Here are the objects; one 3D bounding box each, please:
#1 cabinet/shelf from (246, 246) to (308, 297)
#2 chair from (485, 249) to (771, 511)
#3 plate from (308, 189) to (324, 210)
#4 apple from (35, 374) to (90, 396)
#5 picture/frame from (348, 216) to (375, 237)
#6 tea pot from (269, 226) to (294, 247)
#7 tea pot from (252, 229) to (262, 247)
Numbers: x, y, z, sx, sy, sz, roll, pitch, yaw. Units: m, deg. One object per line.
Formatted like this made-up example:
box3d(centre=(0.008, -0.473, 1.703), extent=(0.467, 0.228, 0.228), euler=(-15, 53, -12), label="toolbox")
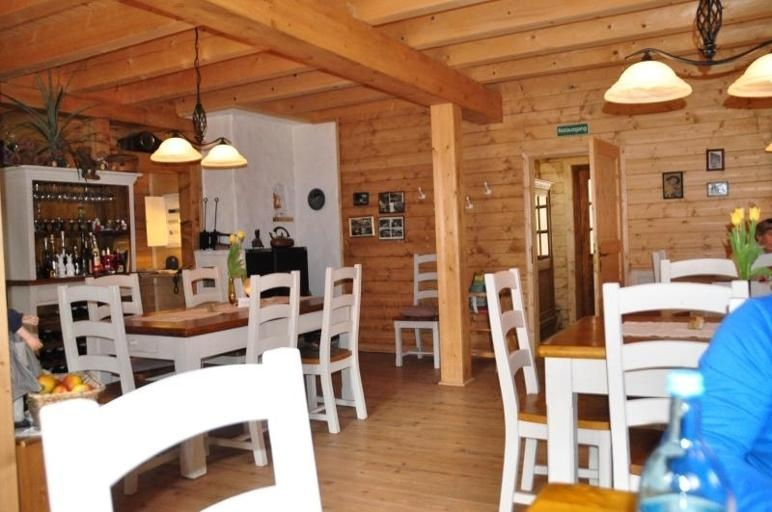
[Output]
box3d(centre=(-1.489, 0.295, 7.481), extent=(0.336, 0.775, 0.951), euler=(-1, 2, 42), label="cabinet/shelf")
box3d(centre=(1.038, 0.549, 2.913), extent=(1.048, 1.423, 1.010), euler=(-2, 7, -1), label="chair")
box3d(centre=(-0.963, -0.774, 8.035), extent=(0.262, 0.299, 0.053), euler=(0, 7, 25), label="plate")
box3d(centre=(-1.691, 0.672, 3.057), extent=(0.179, 0.065, 0.141), euler=(3, -4, 14), label="apple")
box3d(centre=(-0.320, -0.399, 7.865), extent=(0.325, 0.202, 0.024), euler=(0, 1, 24), label="picture/frame")
box3d(centre=(-1.372, -0.247, 7.619), extent=(0.322, 0.239, 0.293), euler=(2, -4, 0), label="tea pot")
box3d(centre=(-1.638, -0.225, 7.418), extent=(0.131, 0.222, 0.333), euler=(-4, 6, -12), label="tea pot")
